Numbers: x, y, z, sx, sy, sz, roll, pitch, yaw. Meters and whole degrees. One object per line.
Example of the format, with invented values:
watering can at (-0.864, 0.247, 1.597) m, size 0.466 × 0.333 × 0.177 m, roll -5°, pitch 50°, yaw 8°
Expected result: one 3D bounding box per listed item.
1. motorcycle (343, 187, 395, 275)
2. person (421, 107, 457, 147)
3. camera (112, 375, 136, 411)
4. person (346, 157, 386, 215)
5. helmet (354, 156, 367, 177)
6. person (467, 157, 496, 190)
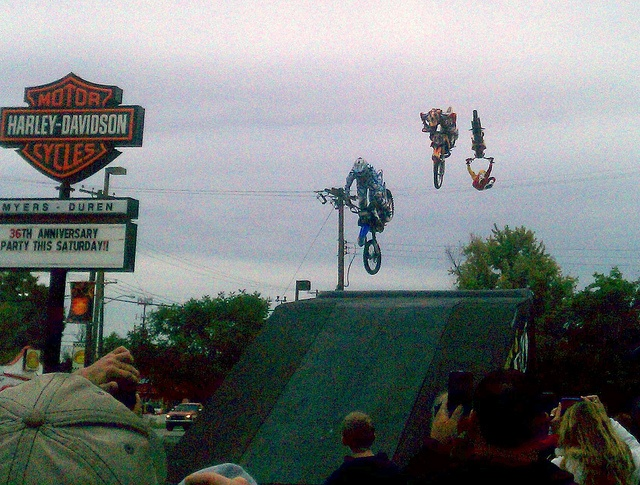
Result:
motorcycle at (1.295, -0.210, 20.995) m, size 1.468 × 2.512 × 1.535 m, roll -7°, pitch 22°, yaw 4°
person at (3.665, -3.537, 24.226) m, size 0.999 × 1.192 × 1.126 m, roll -2°, pitch -2°, yaw 10°
camera at (-1.296, 1.014, 5.358) m, size 0.182 × 0.213 × 0.182 m, roll 4°, pitch -1°, yaw -10°
person at (1.207, -1.524, 21.112) m, size 0.775 × 1.333 × 1.060 m, roll -2°, pitch -2°, yaw 20°
helmet at (1.013, -1.980, 20.718) m, size 0.411 × 0.433 × 0.280 m, roll -2°, pitch -2°, yaw 37°
person at (5.239, -2.186, 25.965) m, size 0.690 × 1.094 × 1.695 m, roll -1°, pitch -2°, yaw 9°
